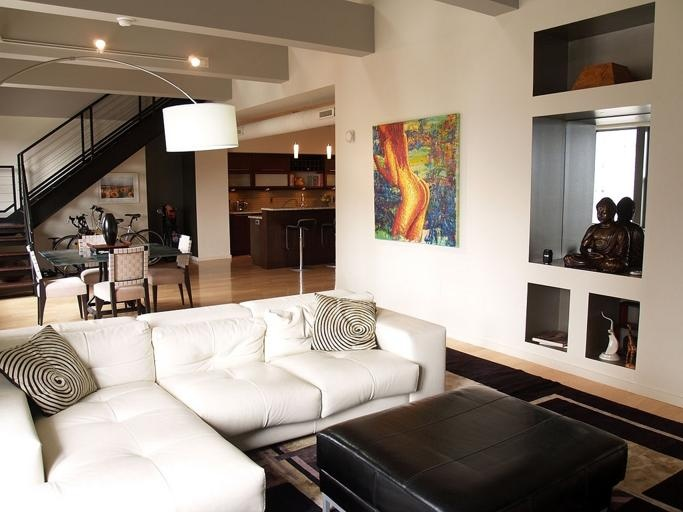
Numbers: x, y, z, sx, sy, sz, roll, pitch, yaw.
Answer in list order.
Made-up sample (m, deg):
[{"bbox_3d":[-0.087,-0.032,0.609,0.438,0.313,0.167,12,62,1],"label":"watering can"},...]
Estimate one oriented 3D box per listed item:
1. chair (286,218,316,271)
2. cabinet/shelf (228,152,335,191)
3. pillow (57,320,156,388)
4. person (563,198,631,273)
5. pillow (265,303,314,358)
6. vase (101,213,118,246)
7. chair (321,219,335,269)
[{"bbox_3d":[-0.870,-0.267,10.371,0.634,1.099,1.204,-3,10,-15],"label":"chair"},{"bbox_3d":[-1.751,-2.458,13.637,3.308,1.042,0.516,-7,11,-30],"label":"cabinet/shelf"},{"bbox_3d":[-1.616,0.641,3.340,0.580,0.446,0.402,0,3,-9],"label":"pillow"},{"bbox_3d":[2.550,-0.204,4.634,0.484,0.841,0.692,-2,5,-29],"label":"person"},{"bbox_3d":[-0.470,0.632,3.969,0.365,0.387,0.112,5,-4,-27],"label":"pillow"},{"bbox_3d":[-3.404,-0.393,6.872,0.177,0.450,0.337,-6,10,-27],"label":"vase"},{"bbox_3d":[-0.335,-0.333,11.136,0.292,0.986,0.248,1,9,12],"label":"chair"}]
